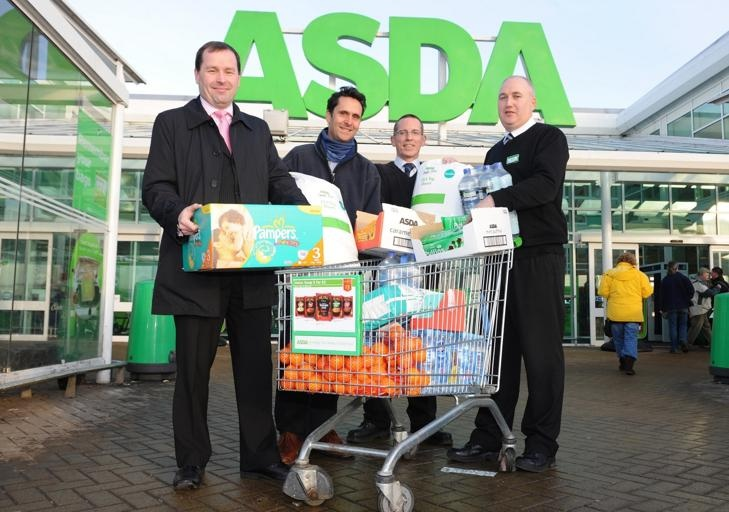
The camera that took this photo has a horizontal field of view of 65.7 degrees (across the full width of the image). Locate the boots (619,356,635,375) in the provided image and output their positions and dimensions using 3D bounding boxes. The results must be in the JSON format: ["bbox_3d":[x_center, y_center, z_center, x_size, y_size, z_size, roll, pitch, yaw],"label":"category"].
[{"bbox_3d":[4.913,1.970,10.385,0.214,0.273,0.627,1,1,8],"label":"boots"}]

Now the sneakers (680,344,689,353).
[{"bbox_3d":[8.438,2.421,14.789,0.192,0.174,0.164,2,-1,16],"label":"sneakers"}]

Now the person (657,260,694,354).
[{"bbox_3d":[8.291,1.340,14.952,0.815,2.333,0.720,-4,-6,28],"label":"person"}]

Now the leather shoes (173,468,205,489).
[{"bbox_3d":[-1.270,1.576,4.057,0.203,0.164,0.147,1,-5,-18],"label":"leather shoes"}]

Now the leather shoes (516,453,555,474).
[{"bbox_3d":[1.360,1.618,4.514,0.312,0.137,0.142,5,-6,-22],"label":"leather shoes"}]

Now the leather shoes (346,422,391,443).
[{"bbox_3d":[0.034,1.661,5.477,0.445,0.212,0.165,2,-4,-19],"label":"leather shoes"}]

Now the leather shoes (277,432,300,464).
[{"bbox_3d":[-0.637,1.591,4.752,0.224,0.283,0.087,4,-7,29],"label":"leather shoes"}]

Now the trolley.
[{"bbox_3d":[0.120,0.892,4.401,1.352,1.947,1.929,-8,-15,40],"label":"trolley"}]

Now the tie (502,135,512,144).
[{"bbox_3d":[1.255,-1.007,4.970,0.062,0.033,0.082,7,-19,-10],"label":"tie"}]

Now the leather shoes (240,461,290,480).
[{"bbox_3d":[-0.700,1.577,4.192,0.400,0.171,0.144,-1,0,4],"label":"leather shoes"}]

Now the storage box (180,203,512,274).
[{"bbox_3d":[-0.375,-0.105,3.834,0.980,0.258,1.058,5,-8,-45],"label":"storage box"}]
